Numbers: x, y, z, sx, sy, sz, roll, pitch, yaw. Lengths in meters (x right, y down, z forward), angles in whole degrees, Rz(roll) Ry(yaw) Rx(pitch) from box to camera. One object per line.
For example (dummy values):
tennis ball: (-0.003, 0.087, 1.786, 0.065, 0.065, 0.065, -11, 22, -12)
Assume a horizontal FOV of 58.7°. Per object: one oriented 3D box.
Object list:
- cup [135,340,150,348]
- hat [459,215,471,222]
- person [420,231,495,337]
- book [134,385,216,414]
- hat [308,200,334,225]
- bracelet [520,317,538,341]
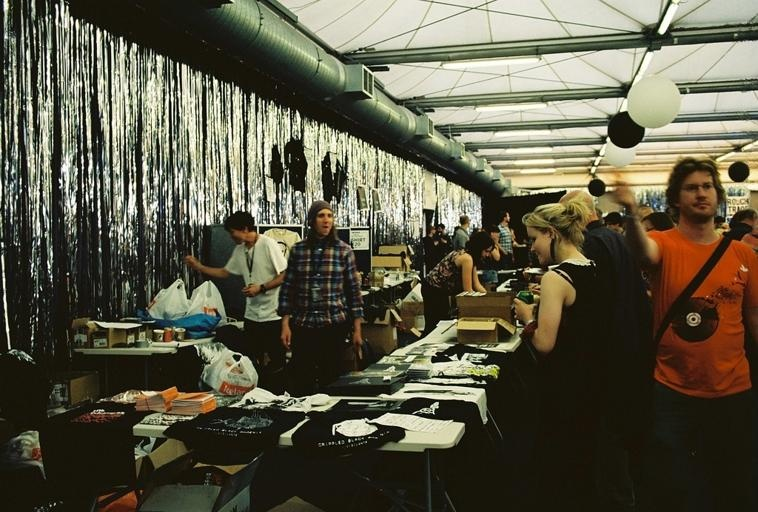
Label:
cup: (-1.857, 0.690, 5.298, 0.068, 0.040, 0.067, 2, 0, 0)
hat: (1.490, -0.640, 11.730, 0.134, 0.151, 0.156, 2, 27, 14)
person: (0.890, 0.304, 7.498, 0.970, 0.503, 1.534, 4, -42, -2)
book: (-1.187, 0.867, 4.031, 0.281, 0.091, 0.209, -2, -2, 23)
hat: (-0.449, -0.346, 5.283, 0.176, 0.174, 0.189, 1, -7, -35)
bracelet: (0.881, 0.424, 3.951, 0.036, 0.084, 0.121, 23, 16, 14)
